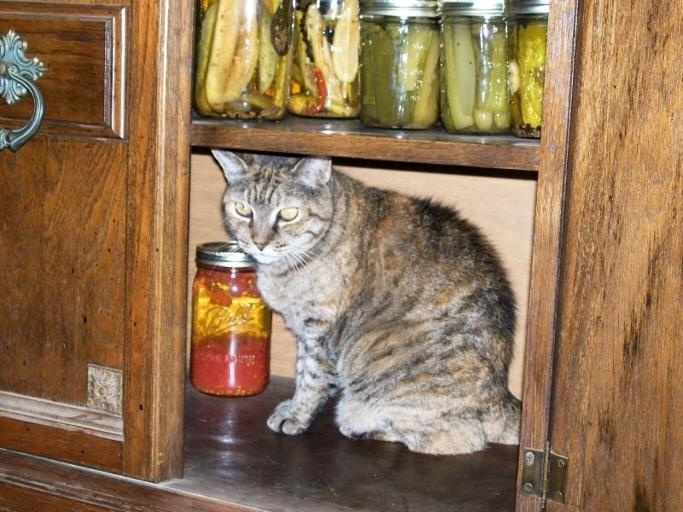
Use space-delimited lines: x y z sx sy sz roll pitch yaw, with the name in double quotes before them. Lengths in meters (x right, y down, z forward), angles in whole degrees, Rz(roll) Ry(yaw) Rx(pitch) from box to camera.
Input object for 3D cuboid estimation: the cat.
"cat" 0.107 0.084 1.897 0.897 0.714 0.349 3 19 -9
